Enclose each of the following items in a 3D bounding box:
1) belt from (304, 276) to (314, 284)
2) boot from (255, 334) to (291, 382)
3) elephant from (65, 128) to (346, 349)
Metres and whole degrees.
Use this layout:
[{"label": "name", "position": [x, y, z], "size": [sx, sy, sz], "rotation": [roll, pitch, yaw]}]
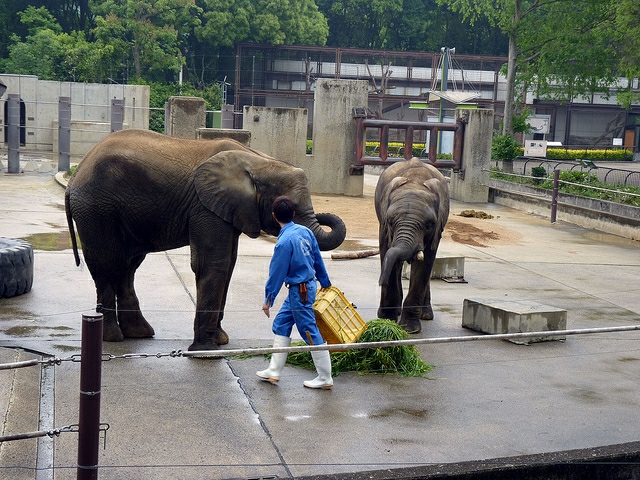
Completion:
[{"label": "belt", "position": [-0.198, 0.674, 19.085], "size": [0.027, 0.112, 0.112], "rotation": [46, 49, 2]}, {"label": "boot", "position": [-0.794, 1.991, 19.190], "size": [0.530, 0.800, 0.433], "rotation": [2, 9, -3]}, {"label": "elephant", "position": [-1.830, 0.074, 20.301], "size": [5.569, 3.277, 1.980], "rotation": [0, -3, 23]}]
